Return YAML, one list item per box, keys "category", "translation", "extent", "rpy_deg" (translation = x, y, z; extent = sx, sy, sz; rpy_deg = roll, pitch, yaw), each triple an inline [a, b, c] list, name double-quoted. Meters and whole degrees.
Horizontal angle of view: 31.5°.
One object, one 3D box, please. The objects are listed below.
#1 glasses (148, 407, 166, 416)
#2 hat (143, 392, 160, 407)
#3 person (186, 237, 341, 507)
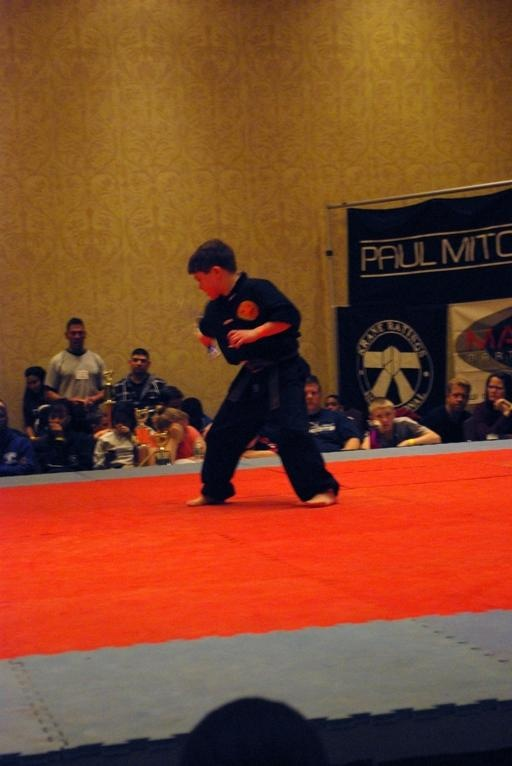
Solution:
- category: "glasses"
  translation: [-0.688, 0.187, 6.161]
  extent: [0.106, 0.032, 0.130]
  rpy_deg: [-8, 6, 8]
- category: "hat"
  translation: [-0.733, 0.111, 6.336]
  extent: [0.032, 0.096, 0.120]
  rpy_deg: [-9, -4, 38]
- category: "person"
  translation: [0.011, -0.048, 3.177]
  extent: [0.549, 0.919, 0.485]
  rpy_deg: [-2, 10, 12]
